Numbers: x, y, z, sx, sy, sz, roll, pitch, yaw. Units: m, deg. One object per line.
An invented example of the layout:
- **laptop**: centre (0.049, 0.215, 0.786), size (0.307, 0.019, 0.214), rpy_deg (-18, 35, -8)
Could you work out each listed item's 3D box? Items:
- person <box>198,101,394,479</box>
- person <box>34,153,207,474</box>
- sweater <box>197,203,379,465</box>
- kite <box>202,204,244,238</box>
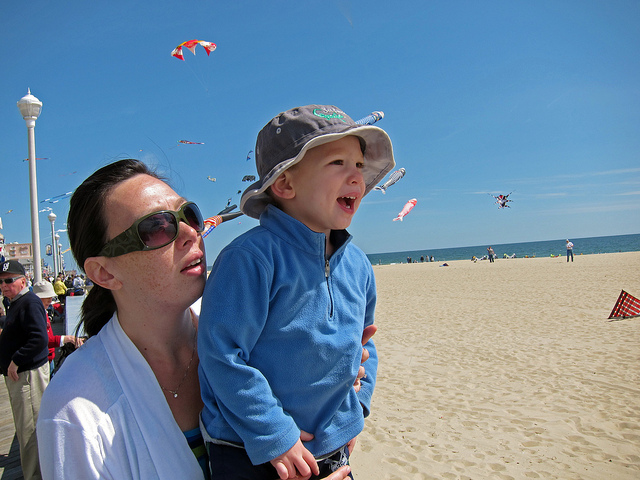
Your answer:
- **person**: centre (-0.140, 0.272, 3.058), size (1.297, 1.680, 0.575), rpy_deg (-6, 3, -40)
- **person**: centre (-1.153, 0.469, 2.851), size (0.970, 1.772, 0.558), rpy_deg (-5, 2, -15)
- **sweater**: centre (-0.080, 0.574, 3.213), size (1.293, 1.526, 0.901), rpy_deg (-1, 3, -41)
- **kite**: centre (-0.586, -0.119, 2.801), size (0.117, 0.066, 0.524), rpy_deg (16, 24, 9)
